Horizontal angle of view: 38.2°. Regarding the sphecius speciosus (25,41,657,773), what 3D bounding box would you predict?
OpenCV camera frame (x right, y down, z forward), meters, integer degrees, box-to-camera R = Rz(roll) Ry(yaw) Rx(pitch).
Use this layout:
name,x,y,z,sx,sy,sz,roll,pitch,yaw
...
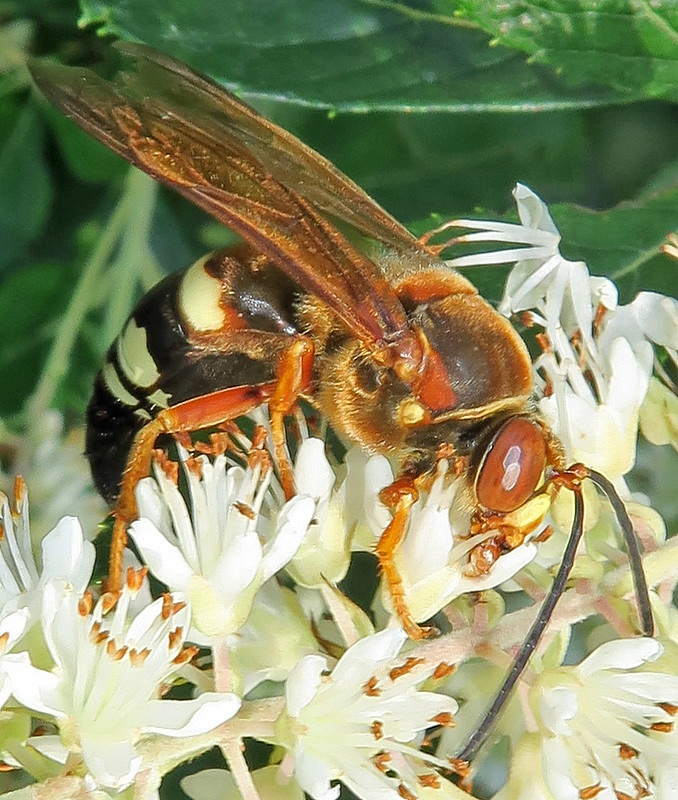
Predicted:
name,x,y,z,sx,sy,sz,roll,pitch,yaw
sphecius speciosus,0.096,-0.167,1.066,0.537,0.253,0.674,-29,83,12
